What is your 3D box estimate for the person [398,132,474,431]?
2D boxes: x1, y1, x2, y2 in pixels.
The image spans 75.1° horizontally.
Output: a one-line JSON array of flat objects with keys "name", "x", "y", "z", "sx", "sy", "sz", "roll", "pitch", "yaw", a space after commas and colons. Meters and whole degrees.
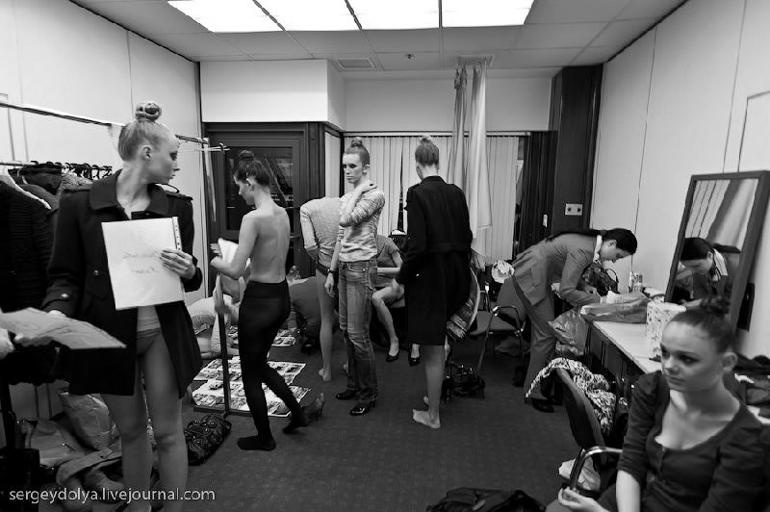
[{"name": "person", "x": 0.410, "y": 0.266, "z": 4.255, "sx": 0.634, "sy": 2.299, "sz": 0.733, "roll": 5, "pitch": 7, "yaw": 36}]

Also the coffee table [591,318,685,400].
[{"name": "coffee table", "x": 1.867, "y": 0.642, "z": 3.753, "sx": 0.354, "sy": 0.377, "sz": 0.739, "roll": 1, "pitch": 4, "yaw": 12}]

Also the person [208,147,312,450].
[{"name": "person", "x": -0.947, "y": 0.398, "z": 3.763, "sx": 0.625, "sy": 2.176, "sz": 0.460, "roll": -7, "pitch": 16, "yaw": -30}]

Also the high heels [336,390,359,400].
[{"name": "high heels", "x": -0.338, "y": 1.292, "z": 4.591, "sx": 0.213, "sy": 0.099, "sz": 0.082, "roll": 3, "pitch": 0, "yaw": -8}]

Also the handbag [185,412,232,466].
[{"name": "handbag", "x": -1.444, "y": 1.422, "z": 3.958, "sx": 0.330, "sy": 0.213, "sz": 0.576, "roll": -2, "pitch": 8, "yaw": 11}]

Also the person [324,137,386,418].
[{"name": "person", "x": -0.236, "y": 0.186, "z": 4.321, "sx": 0.460, "sy": 2.316, "sz": 0.625, "roll": -3, "pitch": 15, "yaw": -14}]

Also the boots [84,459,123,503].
[{"name": "boots", "x": -1.870, "y": 1.535, "z": 3.365, "sx": 0.231, "sy": 0.102, "sz": 0.243, "roll": 7, "pitch": 8, "yaw": -4}]
